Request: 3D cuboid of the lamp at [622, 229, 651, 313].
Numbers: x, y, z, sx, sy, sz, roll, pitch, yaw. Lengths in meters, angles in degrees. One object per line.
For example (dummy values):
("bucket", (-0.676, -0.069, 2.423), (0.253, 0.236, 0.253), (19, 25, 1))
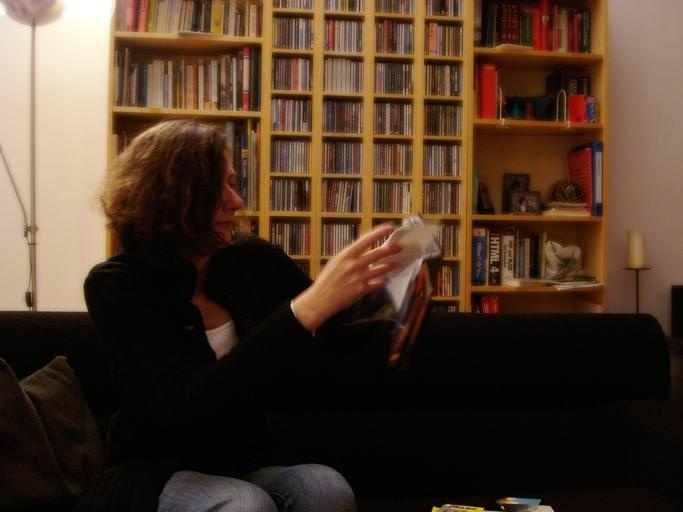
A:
("lamp", (1.907, 0.106, 4.555), (0.136, 0.536, 0.418), (3, 4, 23))
